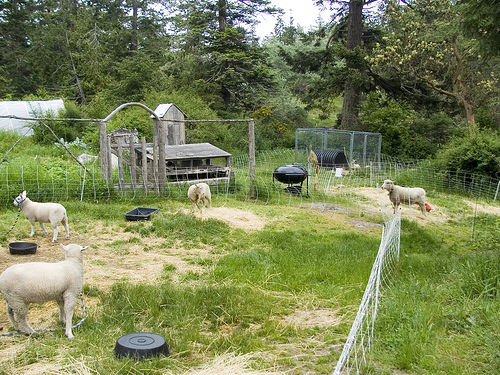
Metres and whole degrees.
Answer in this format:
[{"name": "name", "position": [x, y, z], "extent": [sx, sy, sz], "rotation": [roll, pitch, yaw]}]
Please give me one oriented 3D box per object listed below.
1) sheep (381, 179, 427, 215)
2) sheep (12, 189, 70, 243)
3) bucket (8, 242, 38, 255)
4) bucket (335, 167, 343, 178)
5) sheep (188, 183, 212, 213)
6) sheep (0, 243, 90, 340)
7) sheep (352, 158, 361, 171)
[{"name": "sheep", "position": [5.431, 0.365, 18.765], "extent": [1.142, 0.871, 0.402], "rotation": [5, 17, 14]}, {"name": "sheep", "position": [-5.338, 0.709, 13.432], "extent": [1.430, 1.110, 0.501], "rotation": [7, 4, 10]}, {"name": "bucket", "position": [-5.249, 1.398, 12.286], "extent": [0.354, 0.154, 0.406], "rotation": [1, -5, 42]}, {"name": "bucket", "position": [3.722, -0.629, 22.255], "extent": [0.320, 0.154, 0.605], "rotation": [2, 12, 8]}, {"name": "sheep", "position": [-1.658, 0.296, 17.064], "extent": [0.461, 0.876, 1.533], "rotation": [-3, -3, 1]}, {"name": "sheep", "position": [-3.742, 1.856, 9.595], "extent": [1.318, 1.562, 0.832], "rotation": [-1, 3, -10]}, {"name": "sheep", "position": [5.545, -1.222, 27.698], "extent": [0.441, 0.630, 1.344], "rotation": [0, 3, 10]}]
